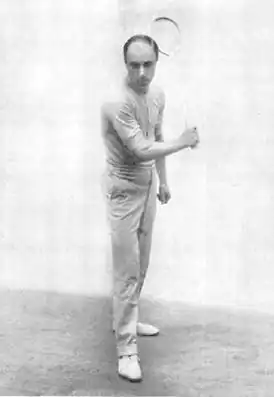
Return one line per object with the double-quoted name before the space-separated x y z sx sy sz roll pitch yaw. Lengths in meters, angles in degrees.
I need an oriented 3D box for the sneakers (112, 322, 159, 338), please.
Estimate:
"sneakers" 0.004 0.712 4.497 0.269 0.119 0.096 0 -3 2
